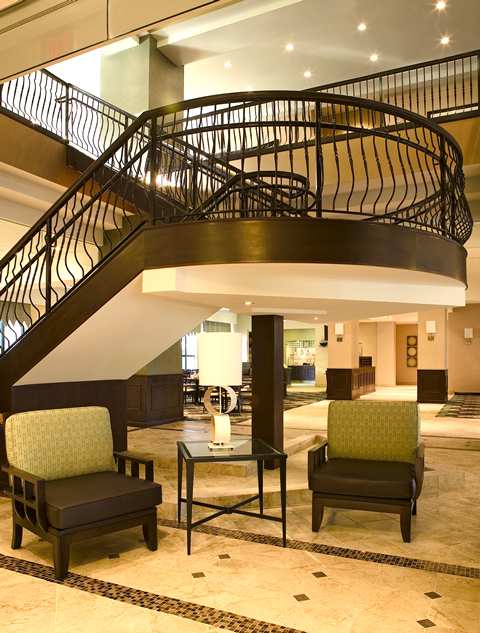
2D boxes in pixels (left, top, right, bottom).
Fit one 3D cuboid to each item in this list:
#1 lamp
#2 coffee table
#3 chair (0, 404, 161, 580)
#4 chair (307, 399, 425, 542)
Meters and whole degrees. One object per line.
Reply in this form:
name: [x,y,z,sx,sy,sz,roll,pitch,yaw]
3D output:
lamp: [-0.166,0.607,4.207,0.370,0.957,1.363,1,-4,-2]
coffee table: [-0.083,1.338,3.997,0.915,0.667,0.969,-1,-5,13]
chair: [-1.045,1.082,3.849,0.983,1.274,1.039,4,-10,-42]
chair: [1.016,1.198,4.144,0.833,0.982,0.911,0,-4,20]
